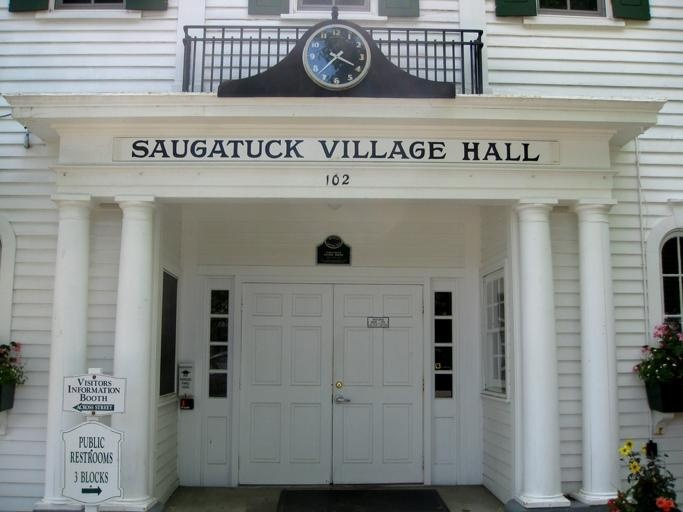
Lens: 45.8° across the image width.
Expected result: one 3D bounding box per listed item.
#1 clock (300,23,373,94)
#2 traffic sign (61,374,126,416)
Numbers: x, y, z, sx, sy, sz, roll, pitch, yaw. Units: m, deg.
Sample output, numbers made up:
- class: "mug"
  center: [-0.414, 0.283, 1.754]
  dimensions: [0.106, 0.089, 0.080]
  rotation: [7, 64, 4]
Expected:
- class: "clock"
  center: [-0.081, -2.145, 8.880]
  dimensions: [0.796, 0.766, 0.106]
  rotation: [0, -12, 0]
- class: "traffic sign"
  center: [-2.578, 1.432, 8.339]
  dimensions: [0.687, 0.464, 0.046]
  rotation: [10, -24, -38]
